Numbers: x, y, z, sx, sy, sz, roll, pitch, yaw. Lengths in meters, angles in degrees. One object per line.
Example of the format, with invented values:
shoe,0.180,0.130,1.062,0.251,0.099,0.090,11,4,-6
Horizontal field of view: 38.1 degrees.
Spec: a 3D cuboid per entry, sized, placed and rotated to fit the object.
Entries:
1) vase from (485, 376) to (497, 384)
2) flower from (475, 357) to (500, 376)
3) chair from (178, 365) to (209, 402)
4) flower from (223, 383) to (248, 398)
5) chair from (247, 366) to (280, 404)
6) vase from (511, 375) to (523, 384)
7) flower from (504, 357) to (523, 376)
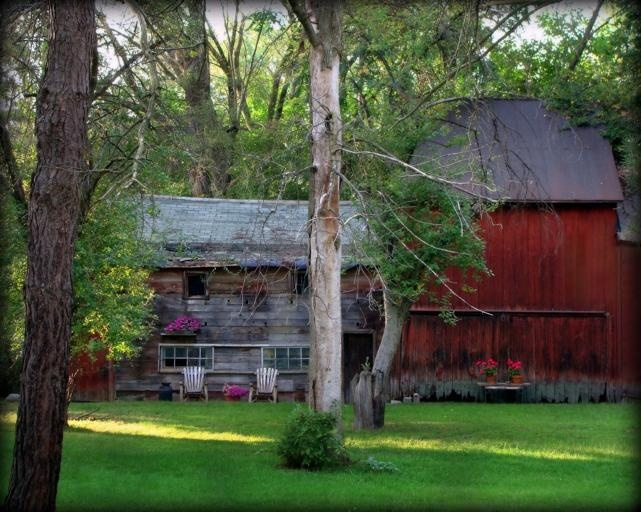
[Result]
vase,5.930,4.262,32.104,0.281,0.189,0.284,2,-11,-6
flower,5.925,3.861,32.393,0.589,0.573,0.812,1,1,-29
chair,-4.379,4.465,31.992,0.923,1.309,0.921,1,-2,-10
flower,-2.949,4.660,32.113,0.542,0.324,0.544,3,-4,-19
chair,-1.931,4.441,32.037,0.859,1.195,0.906,2,-3,-4
vase,6.855,4.268,32.221,0.292,0.198,0.295,1,-11,-2
flower,6.841,3.861,32.399,0.551,0.558,0.495,1,1,11
